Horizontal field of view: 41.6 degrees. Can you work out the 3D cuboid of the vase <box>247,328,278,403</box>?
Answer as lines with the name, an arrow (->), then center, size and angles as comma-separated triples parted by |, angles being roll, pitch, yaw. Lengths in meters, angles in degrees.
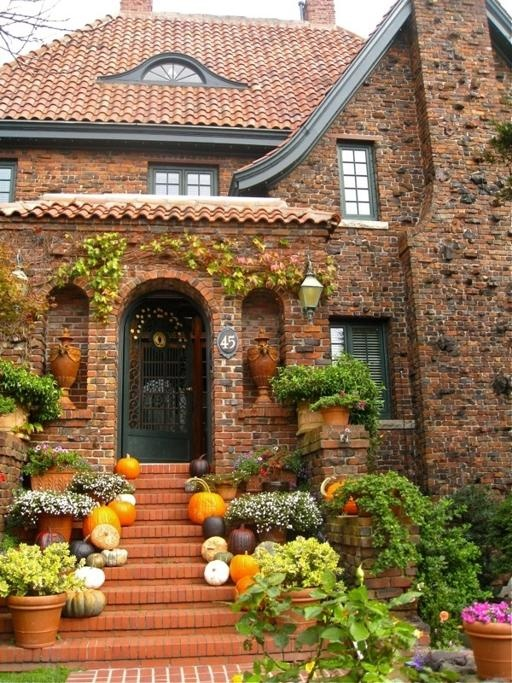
vase -> 0.093, 0.351, 9.360 | 0.472, 0.925, 0.385 | 3, -4, -22

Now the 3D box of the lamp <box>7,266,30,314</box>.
lamp -> -3.047, -0.681, 8.651 | 0.216, 0.599, 0.360 | 3, -12, -16

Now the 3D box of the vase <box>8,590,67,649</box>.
vase -> -1.747, 2.213, 5.479 | 0.498, 0.330, 0.452 | 0, -7, -4

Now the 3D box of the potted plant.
potted plant -> 0.693, 0.692, 8.415 | 0.639, 0.935, 1.516 | 4, -11, -20

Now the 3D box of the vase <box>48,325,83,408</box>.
vase -> -2.507, 0.357, 8.828 | 0.480, 0.998, 0.452 | 1, 0, -20

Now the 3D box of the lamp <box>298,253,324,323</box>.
lamp -> 0.750, -0.676, 9.249 | 0.330, 0.803, 0.278 | 3, -6, -26
